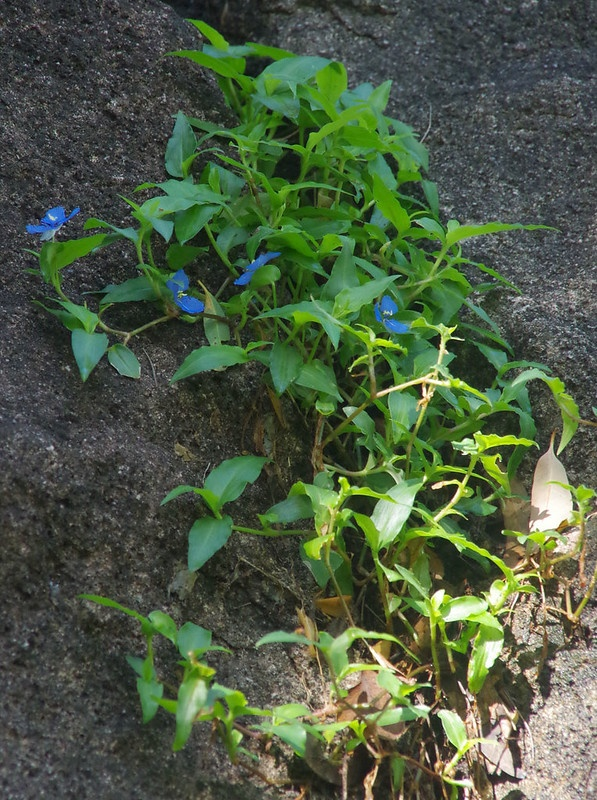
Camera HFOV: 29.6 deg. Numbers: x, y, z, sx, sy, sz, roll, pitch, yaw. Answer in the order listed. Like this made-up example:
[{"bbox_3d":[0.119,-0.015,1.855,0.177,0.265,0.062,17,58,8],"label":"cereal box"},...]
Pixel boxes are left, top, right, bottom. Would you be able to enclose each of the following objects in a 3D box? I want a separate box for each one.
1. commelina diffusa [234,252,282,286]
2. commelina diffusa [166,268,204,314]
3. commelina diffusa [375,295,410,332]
[{"bbox_3d":[-0.083,-0.320,2.752,0.121,0.027,0.073,-28,30,-12],"label":"commelina diffusa"},{"bbox_3d":[-0.289,-0.262,2.768,0.103,0.045,0.106,17,49,-34],"label":"commelina diffusa"},{"bbox_3d":[0.210,-0.213,2.822,0.093,0.043,0.094,4,59,-38],"label":"commelina diffusa"}]
